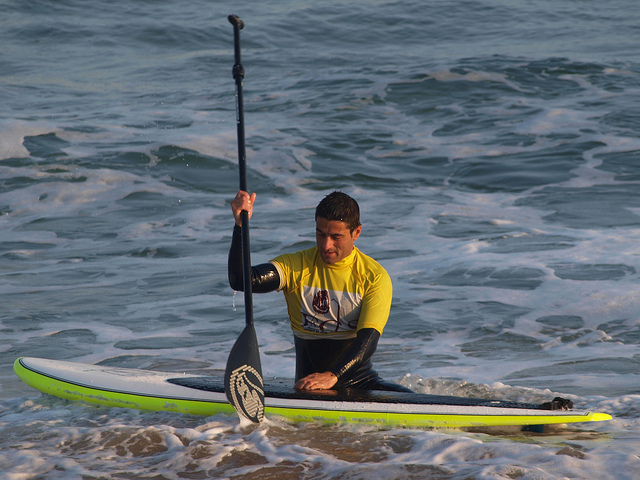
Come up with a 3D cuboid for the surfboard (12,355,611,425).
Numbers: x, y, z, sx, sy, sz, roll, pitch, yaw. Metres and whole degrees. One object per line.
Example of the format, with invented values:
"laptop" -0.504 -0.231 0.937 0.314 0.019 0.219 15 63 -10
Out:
"surfboard" -0.509 2.401 21.247 8.804 0.584 1.249 4 27 -1
